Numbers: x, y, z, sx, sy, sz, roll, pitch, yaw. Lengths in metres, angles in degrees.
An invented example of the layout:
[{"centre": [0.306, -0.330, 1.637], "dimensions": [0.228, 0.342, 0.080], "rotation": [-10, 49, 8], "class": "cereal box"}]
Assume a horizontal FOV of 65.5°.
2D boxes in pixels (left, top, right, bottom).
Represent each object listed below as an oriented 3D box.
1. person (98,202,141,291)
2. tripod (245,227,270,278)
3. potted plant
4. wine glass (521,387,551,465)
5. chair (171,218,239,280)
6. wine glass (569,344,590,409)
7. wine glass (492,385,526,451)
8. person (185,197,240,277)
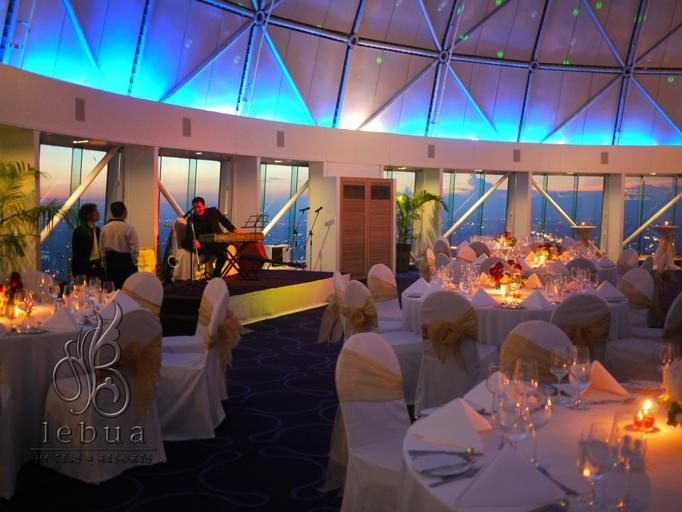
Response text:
[{"centre": [-3.128, 0.040, 7.728], "dimensions": [0.505, 1.708, 0.474], "rotation": [5, 15, 16], "class": "person"}, {"centre": [-1.765, 0.029, 10.683], "dimensions": [0.523, 0.916, 0.563], "rotation": [10, -36, -18], "class": "tripod"}, {"centre": [1.962, -0.761, 15.925], "dimensions": [1.964, 2.733, 1.965], "rotation": [0, 7, -11], "class": "potted plant"}, {"centre": [0.942, 0.772, 2.515], "dimensions": [0.104, 0.260, 0.452], "rotation": [8, 11, 26], "class": "wine glass"}, {"centre": [-2.612, -0.160, 9.782], "dimensions": [0.982, 1.409, 1.005], "rotation": [1, 2, 29], "class": "chair"}, {"centre": [1.320, 0.647, 2.894], "dimensions": [0.105, 0.357, 0.272], "rotation": [8, 11, 27], "class": "wine glass"}, {"centre": [0.788, 0.739, 2.431], "dimensions": [0.157, 0.348, 0.156], "rotation": [3, 12, 28], "class": "wine glass"}, {"centre": [-2.289, -0.252, 9.358], "dimensions": [0.833, 1.547, 0.730], "rotation": [-8, 1, -21], "class": "person"}]
